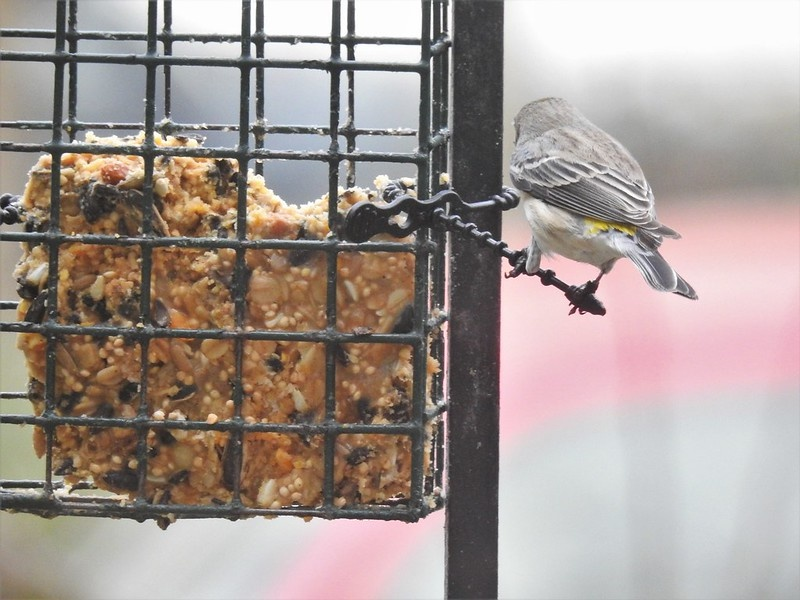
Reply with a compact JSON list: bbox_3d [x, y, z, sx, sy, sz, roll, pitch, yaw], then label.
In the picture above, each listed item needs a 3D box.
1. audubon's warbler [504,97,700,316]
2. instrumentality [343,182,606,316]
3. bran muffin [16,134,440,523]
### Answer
[{"bbox_3d":[0.663,-0.379,5.538,0.626,1.052,1.092,-2,-1,15],"label":"audubon's warbler"},{"bbox_3d":[0.227,-0.228,4.491,0.510,0.538,0.684,-5,-5,26],"label":"instrumentality"},{"bbox_3d":[-0.531,0.042,4.621,1.273,0.943,0.838,4,-44,2],"label":"bran muffin"}]
